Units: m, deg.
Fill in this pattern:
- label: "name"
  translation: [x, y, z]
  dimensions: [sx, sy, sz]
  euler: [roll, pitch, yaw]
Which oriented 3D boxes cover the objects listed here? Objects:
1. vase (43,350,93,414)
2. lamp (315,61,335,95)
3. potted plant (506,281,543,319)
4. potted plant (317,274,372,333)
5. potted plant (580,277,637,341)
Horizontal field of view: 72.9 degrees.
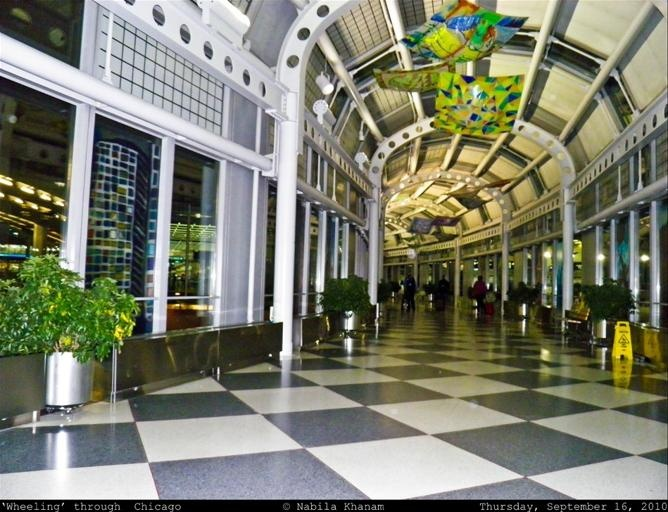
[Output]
- label: "vase"
  translation: [-2.705, 1.290, 4.699]
  dimensions: [0.513, 0.561, 0.503]
  euler: [-3, -7, 27]
- label: "lamp"
  translation: [-0.253, -4.477, 11.230]
  dimensions: [0.403, 0.732, 0.732]
  euler: [-9, -48, -13]
- label: "potted plant"
  translation: [8.941, 1.913, 21.071]
  dimensions: [1.505, 1.974, 1.932]
  euler: [2, 1, -12]
- label: "potted plant"
  translation: [0.268, 1.276, 11.727]
  dimensions: [1.518, 1.615, 1.367]
  euler: [0, -1, -27]
- label: "potted plant"
  translation: [6.530, 1.310, 11.009]
  dimensions: [1.061, 1.183, 0.927]
  euler: [-2, 1, 22]
